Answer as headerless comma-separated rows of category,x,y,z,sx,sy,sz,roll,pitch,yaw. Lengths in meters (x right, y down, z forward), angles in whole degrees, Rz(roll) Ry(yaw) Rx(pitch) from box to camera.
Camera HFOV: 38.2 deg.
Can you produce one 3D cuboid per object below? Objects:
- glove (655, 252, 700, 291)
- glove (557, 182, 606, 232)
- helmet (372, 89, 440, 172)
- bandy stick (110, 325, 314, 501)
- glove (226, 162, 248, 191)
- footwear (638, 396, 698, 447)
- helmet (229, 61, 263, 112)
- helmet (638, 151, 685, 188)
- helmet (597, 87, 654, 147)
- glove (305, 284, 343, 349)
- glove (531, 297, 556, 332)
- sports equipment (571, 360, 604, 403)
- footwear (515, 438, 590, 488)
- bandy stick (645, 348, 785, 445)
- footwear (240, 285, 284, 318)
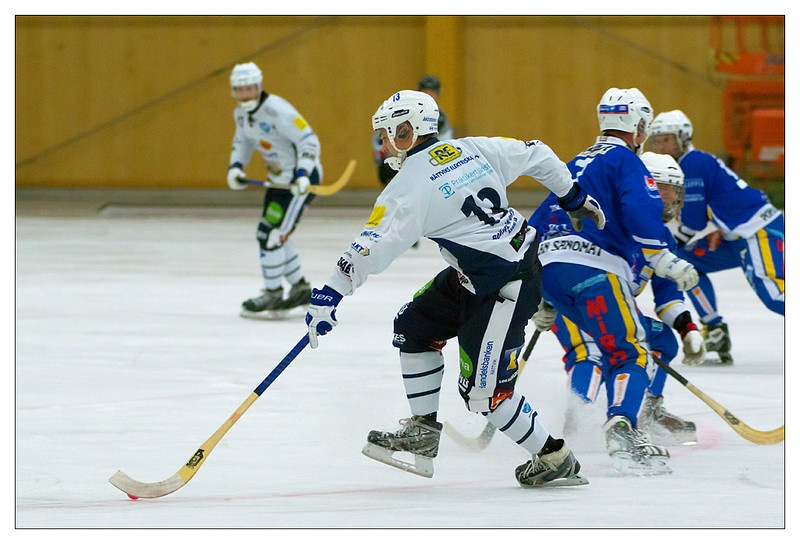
glove,2.036,-0.009,8.616,0.329,0.150,0.254,39,45,10
glove,1.338,-0.480,8.553,0.385,0.283,0.173,45,-9,-11
helmet,0.035,-1.051,8.387,0.542,0.578,0.490,2,2,7
bandy stick,-1.488,1.162,9.154,1.762,0.250,0.312,-37,21,-18
glove,-1.665,-0.947,11.539,0.193,0.281,0.271,1,37,13
footwear,2.067,1.165,9.029,0.465,0.403,0.236,-2,-10,11
helmet,-1.496,-1.871,11.421,0.364,0.447,0.456,-6,21,-1
helmet,1.986,-0.798,8.854,0.318,0.282,0.261,0,10,-9
helmet,1.740,-1.194,8.963,0.393,0.434,0.462,9,5,43
glove,-0.551,0.300,8.293,0.268,0.443,0.172,8,10,1
glove,1.130,0.344,9.114,0.192,0.255,0.122,32,22,14
sports equipment,1.465,0.852,9.082,0.256,0.322,0.121,-2,0,9
footwear,1.159,1.348,8.450,0.222,0.324,0.562,-39,33,-27
bandy stick,2.507,1.027,9.276,1.156,0.167,0.172,35,49,31
footwear,-1.357,0.299,11.443,0.570,0.318,0.184,1,2,-9
